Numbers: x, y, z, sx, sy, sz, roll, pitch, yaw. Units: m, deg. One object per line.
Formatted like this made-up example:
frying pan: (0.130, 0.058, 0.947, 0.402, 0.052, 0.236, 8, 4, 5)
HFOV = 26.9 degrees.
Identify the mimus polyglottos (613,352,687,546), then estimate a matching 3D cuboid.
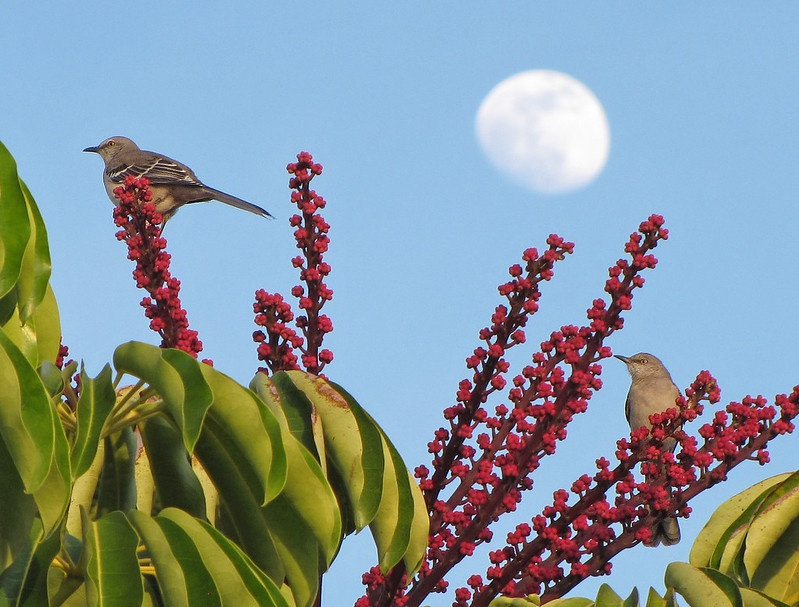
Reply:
mimus polyglottos: (1.335, 0.852, 8.806, 0.371, 0.568, 1.430, -2, -86, 3)
